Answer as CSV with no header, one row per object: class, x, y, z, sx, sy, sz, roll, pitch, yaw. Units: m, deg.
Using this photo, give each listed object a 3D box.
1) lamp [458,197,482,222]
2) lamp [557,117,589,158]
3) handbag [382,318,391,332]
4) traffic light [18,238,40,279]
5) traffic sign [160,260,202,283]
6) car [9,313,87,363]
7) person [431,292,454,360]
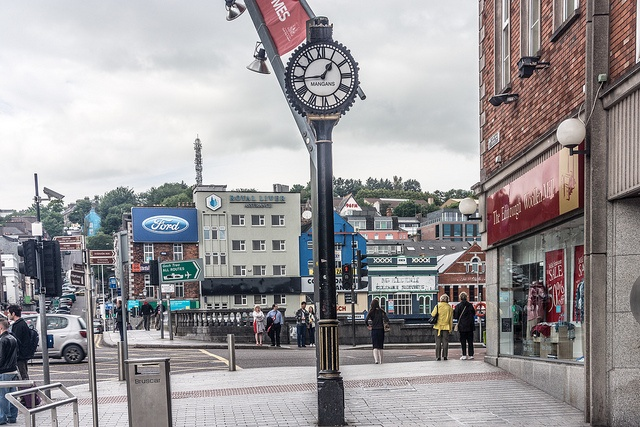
lamp,4.399,-0.178,32.808,0.484,0.692,0.839,-7,-8,44
lamp,5.741,-1.751,24.774,0.815,0.891,0.667,0,-3,-10
handbag,1.967,3.418,33.712,0.252,0.424,0.101,-7,-3,-16
traffic light,-7.675,1.178,28.987,0.457,1.132,1.535,0,-10,-17
traffic sign,-5.516,2.213,43.619,1.694,0.901,0.926,-1,-9,-9
car,-9.072,4.182,36.602,2.620,1.383,1.618,3,-6,-8
person,3.735,3.477,33.886,0.621,2.059,1.454,-3,-9,6
